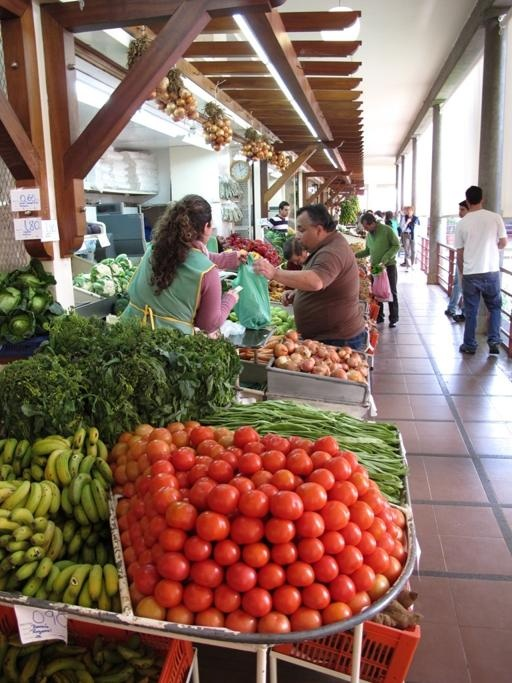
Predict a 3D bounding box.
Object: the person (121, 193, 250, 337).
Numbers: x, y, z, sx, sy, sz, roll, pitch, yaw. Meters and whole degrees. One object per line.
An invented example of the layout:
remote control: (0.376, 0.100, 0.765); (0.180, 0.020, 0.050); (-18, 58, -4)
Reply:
person: (-0.440, -0.416, 2.778); (0.634, 0.797, 0.358); (-5, 13, -14)

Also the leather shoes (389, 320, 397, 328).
leather shoes: (2.420, -0.303, 8.671); (0.147, 0.189, 0.466); (0, 0, 15)

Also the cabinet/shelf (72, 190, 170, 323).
cabinet/shelf: (-2.082, -1.558, 8.081); (0.856, 1.322, 1.460); (-12, 17, -12)

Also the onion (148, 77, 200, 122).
onion: (-0.649, -1.895, 3.836); (0.304, 0.263, 0.477); (4, 13, 23)

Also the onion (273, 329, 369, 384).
onion: (0.429, 0.115, 3.204); (0.617, 0.311, 0.548); (-1, 12, 5)

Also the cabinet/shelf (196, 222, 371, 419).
cabinet/shelf: (0.426, -0.154, 3.652); (0.801, 1.501, 0.778); (-1, 17, 20)

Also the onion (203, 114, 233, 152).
onion: (-0.357, -2.042, 4.930); (0.321, 0.401, 0.328); (0, 0, 4)

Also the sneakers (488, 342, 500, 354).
sneakers: (3.173, 0.095, 6.553); (0.123, 0.183, 0.215); (4, 14, 26)

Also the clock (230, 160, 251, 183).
clock: (-0.234, -2.660, 7.740); (0.357, 0.338, 0.082); (17, 25, 23)

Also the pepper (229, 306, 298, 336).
pepper: (0.175, -0.192, 4.393); (0.385, 0.120, 0.313); (4, 24, 14)

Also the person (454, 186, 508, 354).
person: (3.042, -0.951, 6.630); (0.628, 2.225, 0.758); (1, 13, 14)
